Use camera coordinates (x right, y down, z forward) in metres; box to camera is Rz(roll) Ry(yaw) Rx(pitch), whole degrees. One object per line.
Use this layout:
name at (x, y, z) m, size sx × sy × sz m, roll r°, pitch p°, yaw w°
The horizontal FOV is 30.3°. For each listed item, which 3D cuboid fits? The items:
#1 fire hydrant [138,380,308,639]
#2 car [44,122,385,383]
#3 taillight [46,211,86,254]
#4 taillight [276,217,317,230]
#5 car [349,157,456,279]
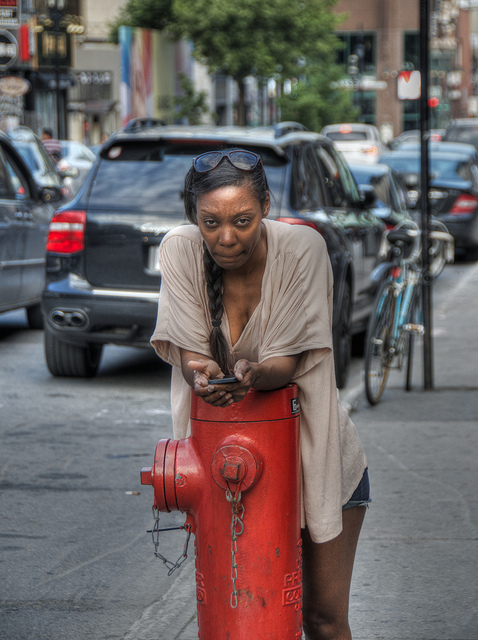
fire hydrant at (-0.027, 0.370, 1.689) m, size 0.321 × 0.509 × 0.215 m, roll 0°, pitch 7°, yaw -5°
car at (-0.302, -0.547, 6.358) m, size 1.566 × 1.404 × 3.170 m, roll 1°, pitch 6°, yaw 20°
taillight at (-1.264, -0.642, 6.459) m, size 0.202 × 0.167 × 0.351 m, roll 1°, pitch 2°, yaw 4°
taillight at (0.399, -0.652, 5.901) m, size 0.274 × 0.064 × 0.328 m, roll 0°, pitch 8°, yaw -2°
car at (1.634, -1.156, 9.064) m, size 1.064 × 1.073 × 2.379 m, roll 0°, pitch -1°, yaw 22°
